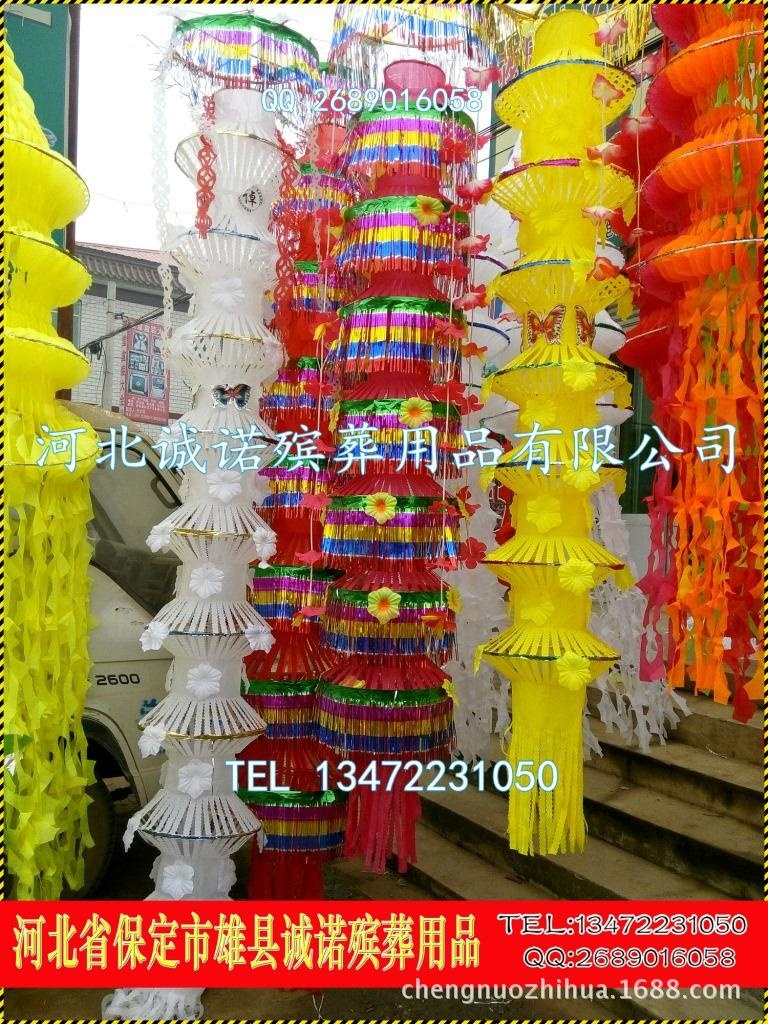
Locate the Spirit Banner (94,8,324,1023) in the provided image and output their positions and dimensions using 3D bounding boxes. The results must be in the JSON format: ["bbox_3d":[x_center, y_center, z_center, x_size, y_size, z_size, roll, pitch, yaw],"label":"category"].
[{"bbox_3d":[-0.443,-0.140,2.814,0.427,2.394,0.757,3,14,-5],"label":"Spirit Banner"}]
